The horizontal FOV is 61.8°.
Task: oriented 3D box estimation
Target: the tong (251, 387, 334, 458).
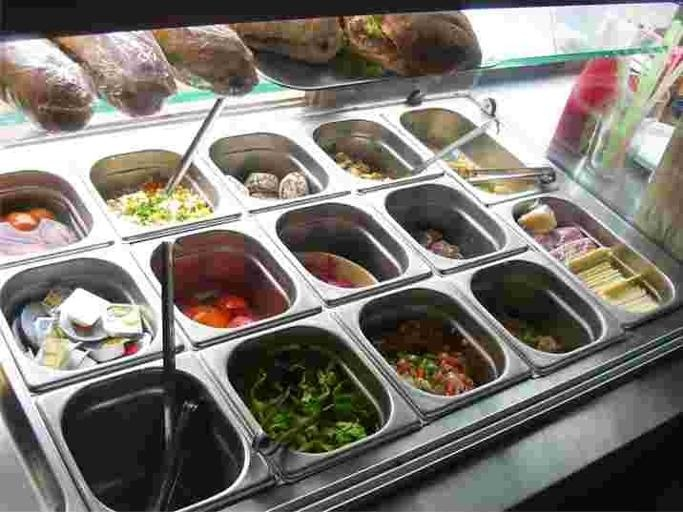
[{"bbox_3d":[-0.131,0.352,1.165,0.049,0.187,0.244,-26,-5,-30],"label":"tong"}]
